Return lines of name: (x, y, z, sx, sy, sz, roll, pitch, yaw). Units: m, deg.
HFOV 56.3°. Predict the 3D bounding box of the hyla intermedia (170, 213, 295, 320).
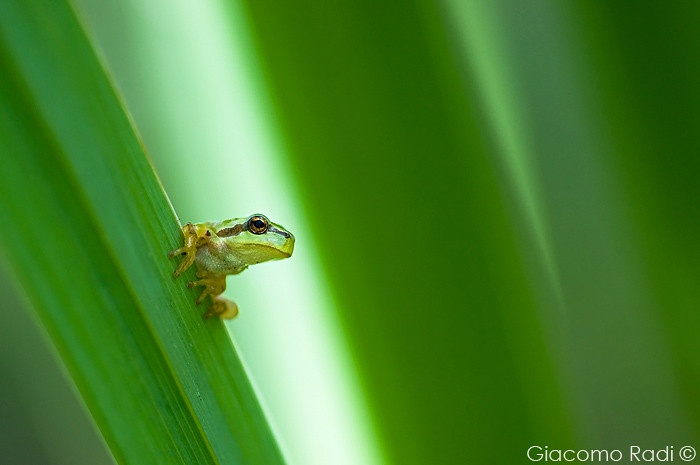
hyla intermedia: (-0.223, 0.037, 1.243, 0.255, 0.144, 0.223, 6, -5, 30)
